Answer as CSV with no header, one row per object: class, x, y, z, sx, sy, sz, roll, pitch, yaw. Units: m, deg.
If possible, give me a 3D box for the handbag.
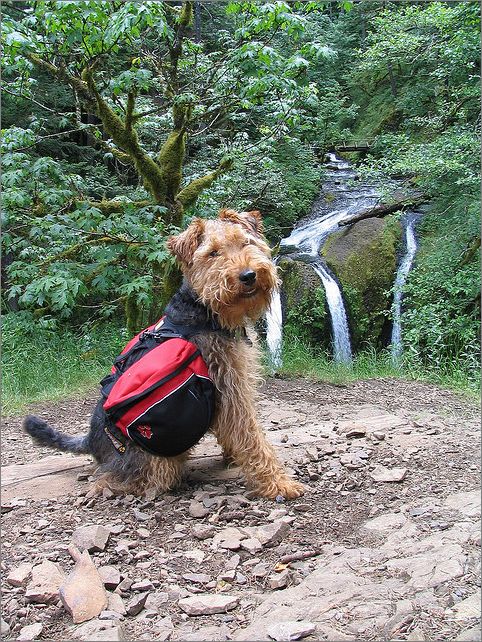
handbag,-0.414,0.393,3.518,0.996,0.714,0.710,-18,12,-31
